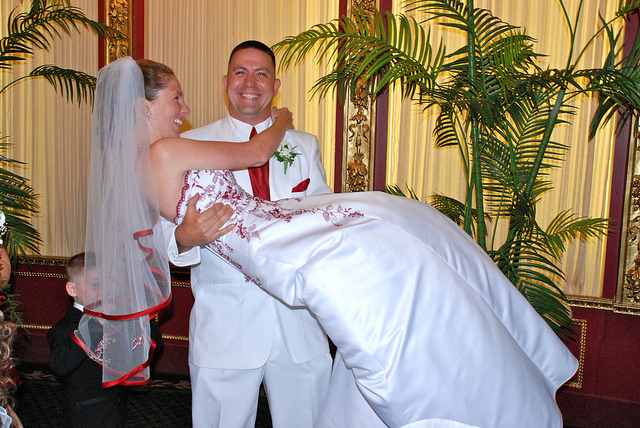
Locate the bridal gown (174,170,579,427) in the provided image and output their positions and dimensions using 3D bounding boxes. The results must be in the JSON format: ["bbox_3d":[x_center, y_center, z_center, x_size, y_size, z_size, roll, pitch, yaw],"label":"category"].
[{"bbox_3d":[0.412,0.445,3.494,2.067,1.463,0.636,0,5,20],"label":"bridal gown"}]

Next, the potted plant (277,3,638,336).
[{"bbox_3d":[1.166,-0.337,4.419,2.164,2.619,1.699,-1,-7,-11],"label":"potted plant"}]
